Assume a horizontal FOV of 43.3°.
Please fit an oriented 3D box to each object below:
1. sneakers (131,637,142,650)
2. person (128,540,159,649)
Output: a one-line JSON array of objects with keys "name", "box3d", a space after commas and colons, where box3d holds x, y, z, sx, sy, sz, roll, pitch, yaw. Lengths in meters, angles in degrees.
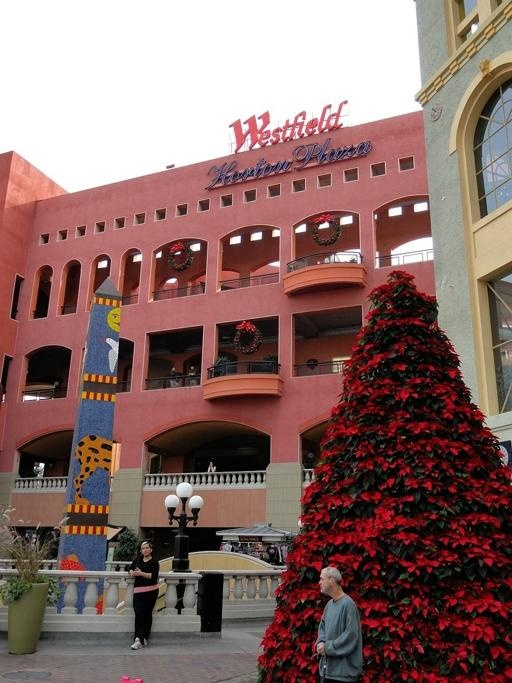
[{"name": "sneakers", "box3d": [-1.805, 4.578, 9.758, 0.111, 0.135, 0.195, -20, -33, 26]}, {"name": "person", "box3d": [-1.744, 3.893, 9.861, 0.431, 1.514, 1.159, 6, -23, -8]}]
